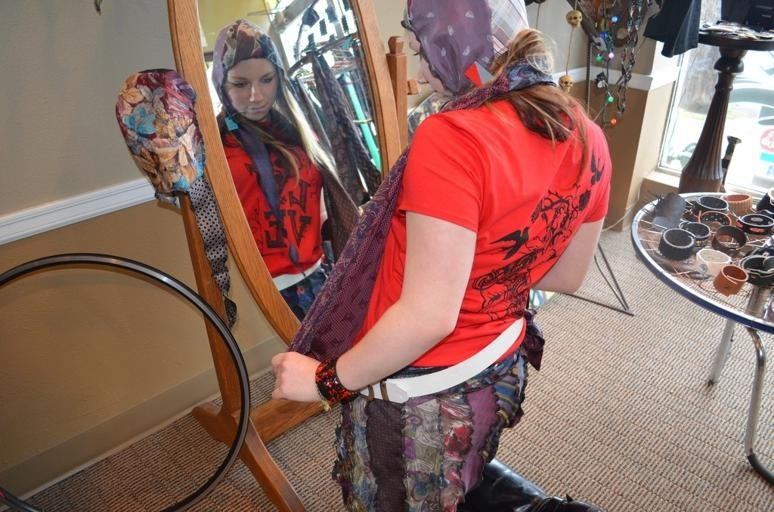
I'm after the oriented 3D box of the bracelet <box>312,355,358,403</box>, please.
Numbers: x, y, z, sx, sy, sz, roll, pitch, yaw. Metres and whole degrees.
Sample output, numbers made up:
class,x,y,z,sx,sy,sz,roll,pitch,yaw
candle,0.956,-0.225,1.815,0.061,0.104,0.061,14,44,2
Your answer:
class,x,y,z,sx,sy,sz,roll,pitch,yaw
bracelet,-0.112,0.267,1.058,0.066,0.083,0.092,-36,8,12

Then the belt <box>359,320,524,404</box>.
class,x,y,z,sx,sy,sz,roll,pitch,yaw
belt,0.132,0.255,1.079,0.230,0.057,0.187,-33,8,3
